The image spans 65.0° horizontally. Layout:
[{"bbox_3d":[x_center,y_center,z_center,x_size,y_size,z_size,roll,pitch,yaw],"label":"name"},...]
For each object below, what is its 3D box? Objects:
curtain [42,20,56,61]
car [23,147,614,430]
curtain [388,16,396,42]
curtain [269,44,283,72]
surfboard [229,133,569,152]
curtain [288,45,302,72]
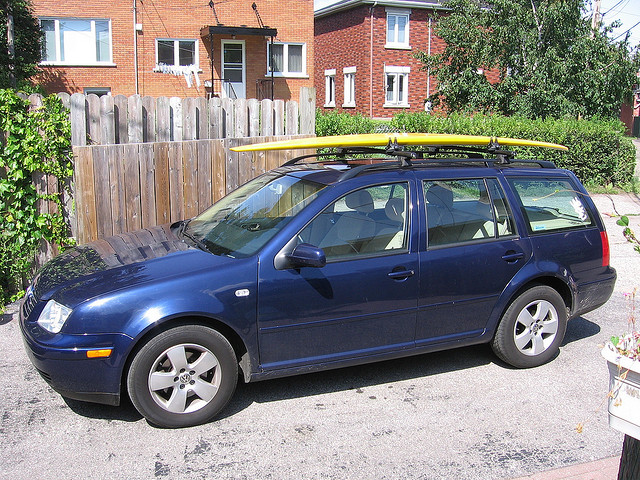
[{"bbox_3d":[-12.944,-9.581,24.110,0.656,1.884,0.510,-5,16,-23],"label":"curtain"},{"bbox_3d":[0.269,0.369,5.302,5.543,1.971,2.549,-3,11,-18],"label":"car"},{"bbox_3d":[4.375,-13.167,31.343,0.528,1.468,0.113,-4,15,-17],"label":"curtain"},{"bbox_3d":[-2.347,-9.442,26.064,0.486,1.375,0.791,8,16,25],"label":"curtain"},{"bbox_3d":[0.804,-1.082,5.599,3.151,0.212,0.942,-3,15,-15],"label":"surfboard"},{"bbox_3d":[-1.339,-9.541,26.430,0.716,1.355,0.189,0,15,-2],"label":"curtain"}]
